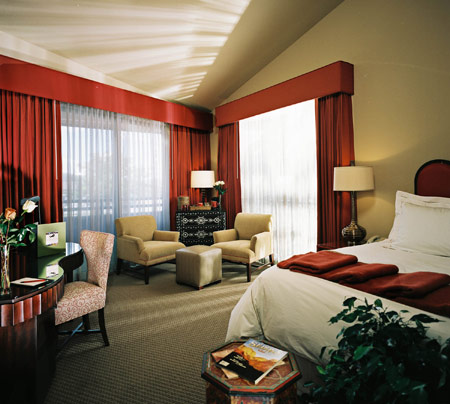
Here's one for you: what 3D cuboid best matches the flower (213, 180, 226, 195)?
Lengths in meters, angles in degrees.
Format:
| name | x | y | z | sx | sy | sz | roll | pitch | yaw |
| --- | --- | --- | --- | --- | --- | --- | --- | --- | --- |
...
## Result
| name | x | y | z | sx | sy | sz | roll | pitch | yaw |
| --- | --- | --- | --- | --- | --- | --- | --- | --- | --- |
| flower | -0.079 | -0.257 | 6.357 | 0.248 | 0.258 | 0.262 | -4 | 9 | -3 |

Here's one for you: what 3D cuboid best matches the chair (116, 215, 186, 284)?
| name | x | y | z | sx | sy | sz | roll | pitch | yaw |
| --- | --- | --- | --- | --- | --- | --- | --- | --- | --- |
| chair | -1.112 | 0.653 | 5.300 | 0.822 | 0.844 | 0.843 | 7 | 10 | 40 |

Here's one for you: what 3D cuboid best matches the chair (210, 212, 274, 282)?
| name | x | y | z | sx | sy | sz | roll | pitch | yaw |
| --- | --- | --- | --- | --- | --- | --- | --- | --- | --- |
| chair | 0.381 | 0.599 | 5.438 | 1.002 | 1.138 | 0.938 | 0 | 0 | 37 |

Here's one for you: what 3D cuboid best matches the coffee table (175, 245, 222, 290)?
| name | x | y | z | sx | sy | sz | roll | pitch | yaw |
| --- | --- | --- | --- | --- | --- | --- | --- | --- | --- |
| coffee table | -0.312 | 0.846 | 4.840 | 0.548 | 0.521 | 0.557 | 0 | 2 | 44 |

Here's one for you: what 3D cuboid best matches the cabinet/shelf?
| name | x | y | z | sx | sy | sz | roll | pitch | yaw |
| --- | --- | --- | --- | --- | --- | --- | --- | --- | --- |
| cabinet/shelf | -0.431 | 0.264 | 6.301 | 1.017 | 0.825 | 0.583 | 0 | -2 | -4 |
